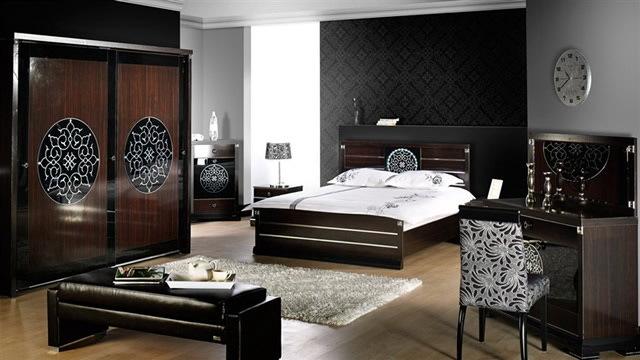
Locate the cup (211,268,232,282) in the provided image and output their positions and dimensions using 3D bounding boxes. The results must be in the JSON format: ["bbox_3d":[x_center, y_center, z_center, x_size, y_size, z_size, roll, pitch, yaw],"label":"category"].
[{"bbox_3d":[-0.876,0.854,3.618,0.146,0.065,0.090,1,3,2],"label":"cup"}]

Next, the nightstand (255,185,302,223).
[{"bbox_3d":[-0.974,0.441,7.941,0.887,0.758,0.706,-1,-1,28],"label":"nightstand"}]

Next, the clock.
[{"bbox_3d":[2.475,-1.026,4.049,0.088,0.574,0.367,-3,8,-16],"label":"clock"}]

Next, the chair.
[{"bbox_3d":[1.568,0.893,3.558,0.813,1.342,0.552,0,7,5],"label":"chair"}]

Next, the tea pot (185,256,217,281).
[{"bbox_3d":[-1.038,0.807,3.692,0.305,0.215,0.226,5,-5,-43],"label":"tea pot"}]
